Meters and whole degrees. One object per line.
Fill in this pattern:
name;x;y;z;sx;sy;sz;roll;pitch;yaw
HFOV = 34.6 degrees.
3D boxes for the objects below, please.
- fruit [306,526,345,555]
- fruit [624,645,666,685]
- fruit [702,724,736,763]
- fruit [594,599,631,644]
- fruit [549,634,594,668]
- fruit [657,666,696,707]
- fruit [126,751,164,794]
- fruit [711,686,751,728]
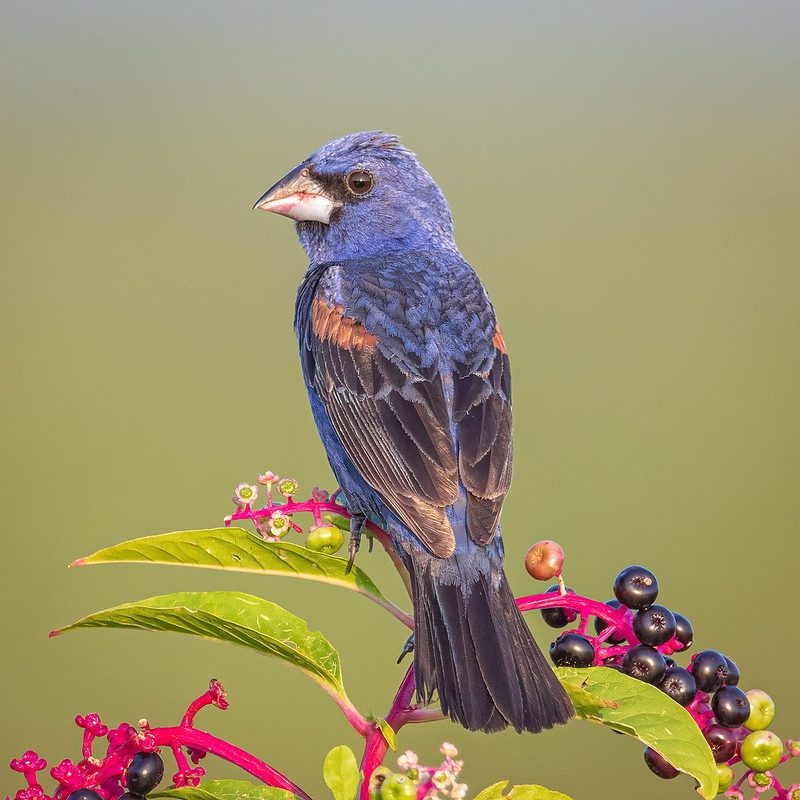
fruit;-0.209;0.389;3.581;0.090;0.086;0.073;-1;-88;4
fruit;0.621;0.665;3.249;0.106;0.100;0.064;-1;-54;-6
fruit;0.821;0.868;3.255;0.073;0.104;0.073;-20;-54;9
fruit;0.553;0.577;3.365;0.081;0.122;0.107;-7;-53;-1
fruit;0.438;0.638;3.266;0.103;0.073;0.074;0;-92;-12
fruit;0.705;0.719;3.286;0.099;0.092;0.111;-15;-25;-2
fruit;-0.596;0.867;2.985;0.083;0.077;0.102;5;-53;-10
fruit;0.845;0.780;3.261;0.091;0.091;0.094;7;-54;-12
